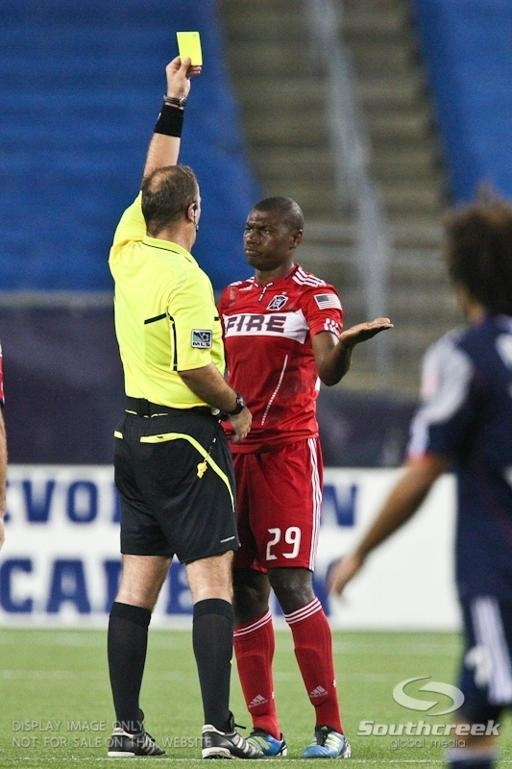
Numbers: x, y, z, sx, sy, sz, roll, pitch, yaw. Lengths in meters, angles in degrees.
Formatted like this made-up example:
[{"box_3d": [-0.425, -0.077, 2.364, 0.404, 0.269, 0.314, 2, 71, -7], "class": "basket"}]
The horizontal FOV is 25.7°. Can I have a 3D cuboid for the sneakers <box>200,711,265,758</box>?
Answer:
[{"box_3d": [-0.077, 1.039, 3.339, 0.245, 0.125, 0.086, 11, -16, -38], "class": "sneakers"}]

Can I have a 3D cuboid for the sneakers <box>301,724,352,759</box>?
[{"box_3d": [0.237, 1.151, 3.630, 0.080, 0.074, 0.173, -7, -15, 24], "class": "sneakers"}]

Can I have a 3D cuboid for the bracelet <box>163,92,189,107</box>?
[{"box_3d": [-0.278, -0.983, 3.928, 0.077, 0.044, 0.075, 8, 10, 19], "class": "bracelet"}]

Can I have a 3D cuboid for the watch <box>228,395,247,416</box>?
[{"box_3d": [-0.055, 0.061, 3.441, 0.048, 0.048, 0.035, -28, -62, 30], "class": "watch"}]

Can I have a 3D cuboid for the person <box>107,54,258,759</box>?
[{"box_3d": [-0.254, 0.307, 3.445, 0.492, 1.645, 0.327, -1, -6, 12], "class": "person"}]
